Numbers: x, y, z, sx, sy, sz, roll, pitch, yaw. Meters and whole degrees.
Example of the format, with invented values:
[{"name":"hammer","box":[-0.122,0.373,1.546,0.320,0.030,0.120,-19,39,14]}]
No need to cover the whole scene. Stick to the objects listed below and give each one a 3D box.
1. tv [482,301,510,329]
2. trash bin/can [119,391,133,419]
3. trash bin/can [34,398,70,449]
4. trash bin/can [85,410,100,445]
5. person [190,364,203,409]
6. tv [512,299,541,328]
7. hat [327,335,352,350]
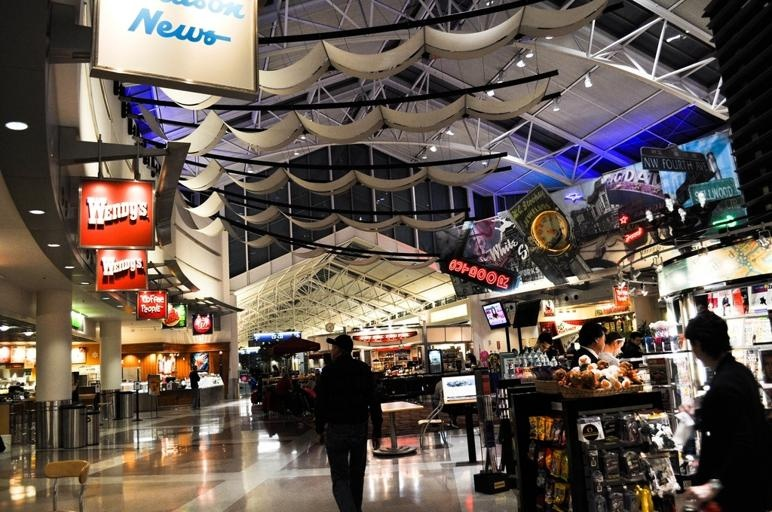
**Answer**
[{"name":"tv","box":[3.032,1.607,16.279,0.532,0.692,0.905,-3,-15,-4]},{"name":"trash bin/can","box":[-8.425,4.859,19.254,0.414,0.886,0.588,-8,-16,13]},{"name":"trash bin/can","box":[-7.163,3.628,12.667,0.650,1.017,0.393,-1,-16,-14]},{"name":"trash bin/can","box":[-6.593,3.886,13.330,0.217,0.765,0.480,-3,-16,-5]},{"name":"person","box":[-7.429,5.121,23.007,0.379,1.683,1.154,1,-16,-18]},{"name":"tv","box":[5.483,2.257,22.904,1.320,1.191,0.297,2,-1,-23]},{"name":"hat","box":[-0.524,0.940,6.566,0.258,0.133,0.172,19,2,15]}]
